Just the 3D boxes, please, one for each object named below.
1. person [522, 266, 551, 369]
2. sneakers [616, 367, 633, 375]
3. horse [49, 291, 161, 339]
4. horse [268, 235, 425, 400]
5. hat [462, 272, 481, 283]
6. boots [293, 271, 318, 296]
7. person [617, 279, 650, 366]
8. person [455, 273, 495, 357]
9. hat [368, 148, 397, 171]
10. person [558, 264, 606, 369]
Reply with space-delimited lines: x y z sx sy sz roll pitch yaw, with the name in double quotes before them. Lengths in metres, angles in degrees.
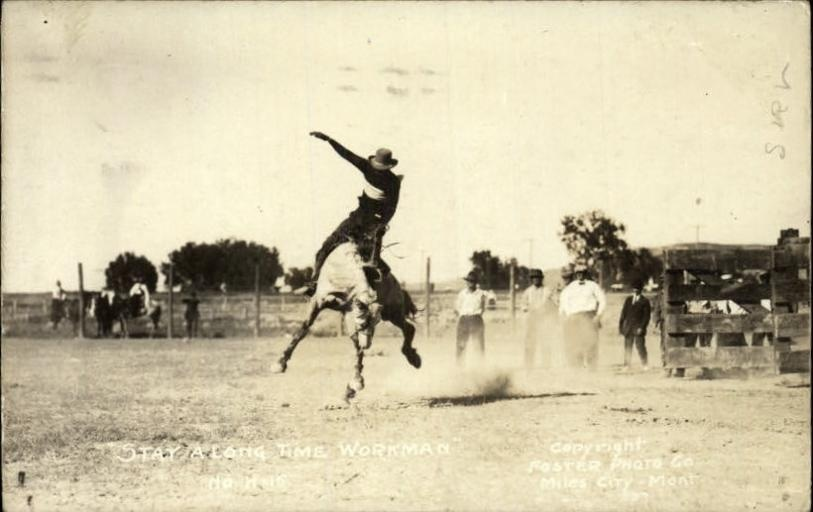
"person" 2.070 1.011 18.086 0.463 1.487 0.879 -1 -6 7
"sneakers" 3.507 1.884 18.356 0.253 0.106 0.470 -10 1 4
"horse" -4.715 0.925 17.770 1.715 0.659 0.626 2 -6 -16
"horse" -0.369 1.075 18.005 1.125 2.062 3.271 -8 -7 7
"hat" 0.980 0.320 17.533 0.248 0.166 0.202 4 -7 -30
"boots" -1.503 0.494 17.212 0.165 0.321 0.583 30 36 0
"person" 3.784 1.189 18.697 0.456 1.308 0.896 1 -6 -5
"person" 1.055 1.022 17.706 0.612 1.220 0.403 0 -6 4
"hat" -0.370 -1.471 16.867 0.413 0.418 1.046 0 -6 -2
"person" 2.827 1.092 18.465 0.675 1.395 0.495 1 -6 -3
